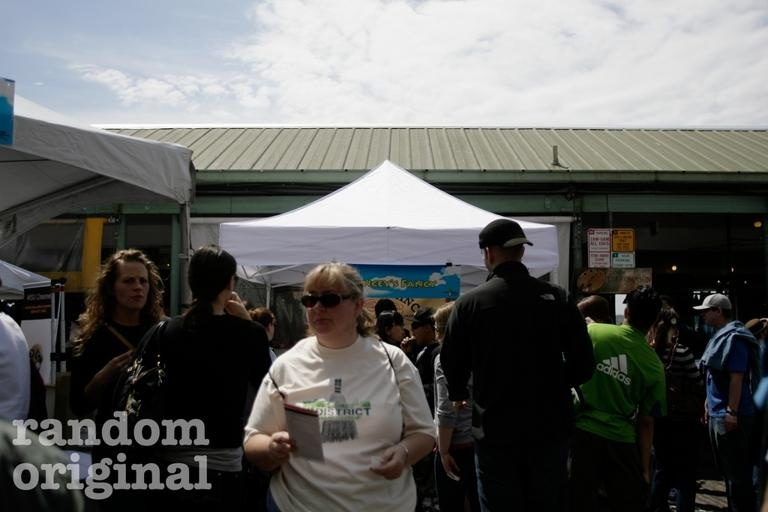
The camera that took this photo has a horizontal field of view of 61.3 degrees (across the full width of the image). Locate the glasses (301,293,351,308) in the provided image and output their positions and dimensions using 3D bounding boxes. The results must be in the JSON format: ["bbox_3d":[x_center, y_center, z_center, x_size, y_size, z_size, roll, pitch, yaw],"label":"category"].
[{"bbox_3d":[-0.409,0.302,4.397,0.341,0.096,0.126,-3,-6,27],"label":"glasses"}]

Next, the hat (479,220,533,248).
[{"bbox_3d":[1.013,-0.175,5.458,0.349,0.170,0.257,-7,-4,31],"label":"hat"}]

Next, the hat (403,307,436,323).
[{"bbox_3d":[0.394,0.627,6.855,0.275,0.131,0.168,4,-4,-7],"label":"hat"}]

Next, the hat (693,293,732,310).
[{"bbox_3d":[3.647,0.510,7.299,0.451,0.218,0.284,2,-3,27],"label":"hat"}]
